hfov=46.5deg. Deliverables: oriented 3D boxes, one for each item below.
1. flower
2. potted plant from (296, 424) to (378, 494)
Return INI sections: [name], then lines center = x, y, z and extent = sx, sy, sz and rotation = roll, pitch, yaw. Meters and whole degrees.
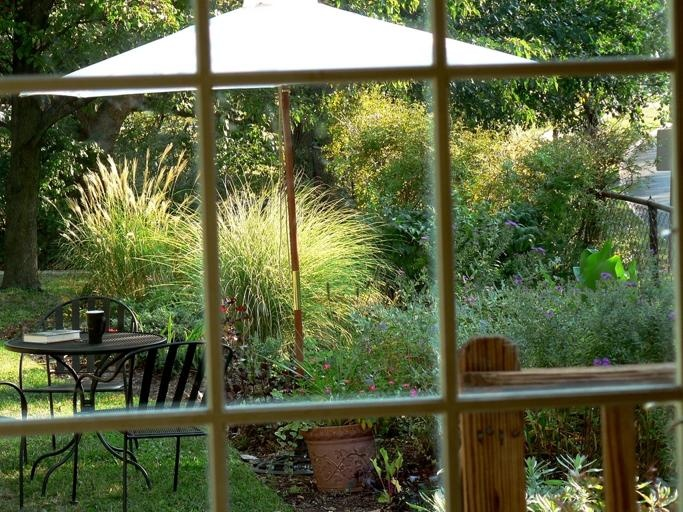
[flower]
center = -0.177, 0.910, 4.585
extent = 0.693, 0.592, 0.709
rotation = 3, -9, -42
[potted plant]
center = -0.003, 1.106, 4.367
extent = 0.323, 0.285, 0.356
rotation = 0, -9, -4
